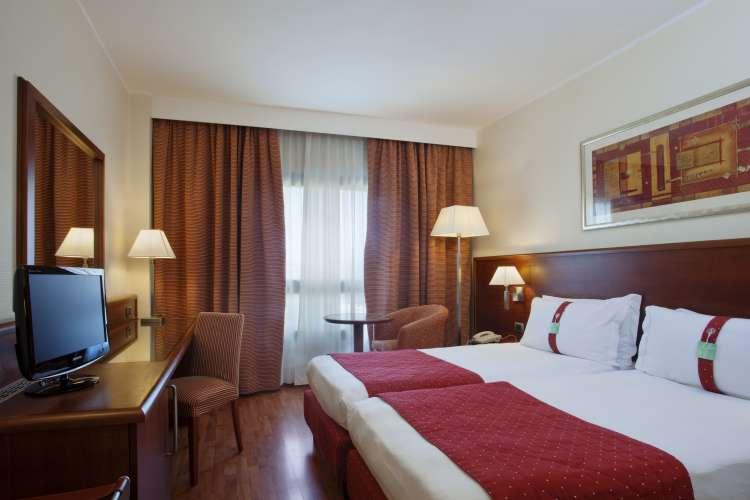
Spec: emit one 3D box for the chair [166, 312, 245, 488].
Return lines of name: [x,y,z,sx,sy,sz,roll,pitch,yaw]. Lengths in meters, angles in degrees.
chair: [-1.460,1.095,3.882,0.683,1.082,0.762,0,0,15]

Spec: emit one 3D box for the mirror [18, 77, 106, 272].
mirror: [-2.285,-0.620,3.602,0.072,0.887,1.051,-10,5,-13]

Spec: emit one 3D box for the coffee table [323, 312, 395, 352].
coffee table: [-0.193,0.741,4.865,0.460,0.322,0.459,2,-2,-37]

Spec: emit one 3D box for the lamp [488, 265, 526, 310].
lamp: [1.369,0.392,5.031,0.306,0.465,0.295,6,10,37]
